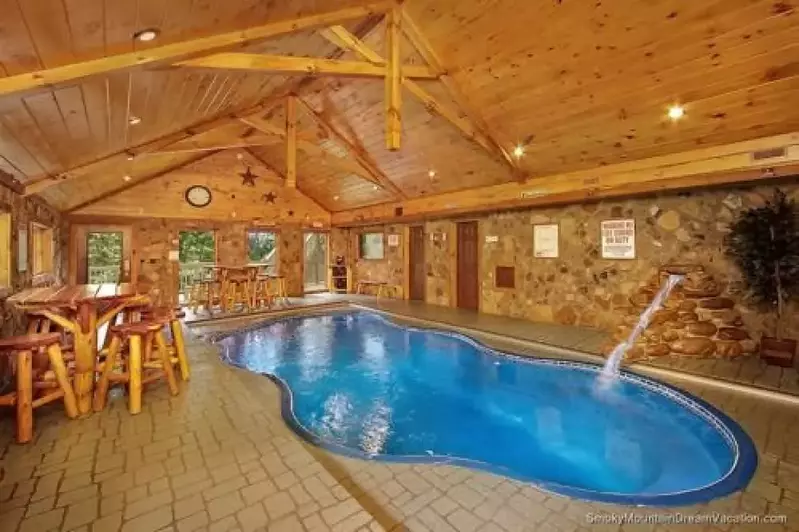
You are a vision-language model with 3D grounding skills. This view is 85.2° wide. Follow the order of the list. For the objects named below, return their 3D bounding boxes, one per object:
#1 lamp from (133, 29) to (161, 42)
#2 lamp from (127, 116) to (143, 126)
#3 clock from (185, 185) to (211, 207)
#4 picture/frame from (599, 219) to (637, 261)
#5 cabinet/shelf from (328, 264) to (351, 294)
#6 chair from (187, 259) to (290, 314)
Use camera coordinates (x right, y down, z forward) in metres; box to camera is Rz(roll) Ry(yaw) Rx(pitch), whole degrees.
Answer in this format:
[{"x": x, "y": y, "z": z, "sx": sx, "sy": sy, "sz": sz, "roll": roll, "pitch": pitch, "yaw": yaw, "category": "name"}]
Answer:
[{"x": -2.579, "y": -2.343, "z": 4.436, "sx": 0.242, "sy": 0.100, "sz": 0.151, "roll": -1, "pitch": 1, "yaw": -5, "category": "lamp"}, {"x": -3.637, "y": -1.983, "z": 5.960, "sx": 0.127, "sy": 0.025, "sz": 0.117, "roll": -4, "pitch": -4, "yaw": -43, "category": "lamp"}, {"x": -5.103, "y": -1.761, "z": 11.015, "sx": 0.576, "sy": 0.497, "sz": 0.119, "roll": 0, "pitch": 1, "yaw": -44, "category": "clock"}, {"x": 3.941, "y": -0.479, "z": 7.802, "sx": 0.111, "sy": 0.977, "sz": 0.845, "roll": 4, "pitch": -4, "yaw": -41, "category": "picture/frame"}, {"x": -1.697, "y": 0.395, "z": 13.474, "sx": 0.896, "sy": 1.059, "sz": 0.816, "roll": 1, "pitch": -1, "yaw": -13, "category": "cabinet/shelf"}, {"x": -3.909, "y": 0.500, "z": 10.725, "sx": 2.101, "sy": 1.109, "sz": 2.426, "roll": -1, "pitch": 1, "yaw": -8, "category": "chair"}]
